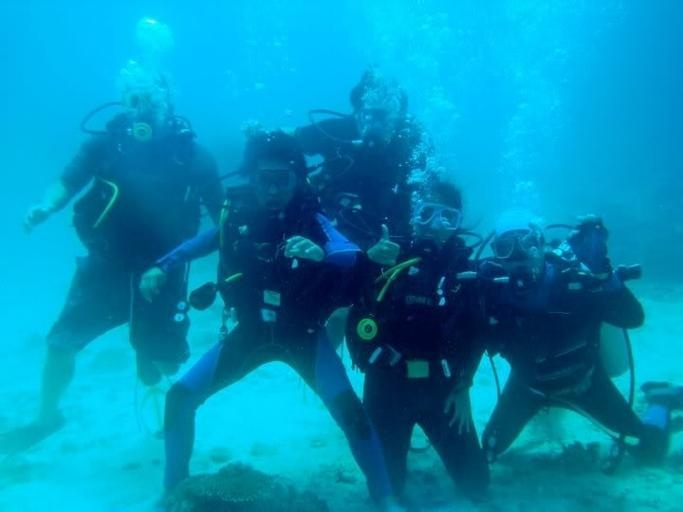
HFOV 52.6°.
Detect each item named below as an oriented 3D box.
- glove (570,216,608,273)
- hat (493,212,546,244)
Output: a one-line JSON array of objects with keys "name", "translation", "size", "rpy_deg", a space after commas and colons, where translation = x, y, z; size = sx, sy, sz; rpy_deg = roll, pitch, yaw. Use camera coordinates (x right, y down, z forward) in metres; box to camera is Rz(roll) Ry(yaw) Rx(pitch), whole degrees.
[{"name": "glove", "translation": [3.432, -0.163, 9.458], "size": [0.516, 0.722, 0.173], "rpy_deg": [2, -1, 31]}, {"name": "hat", "translation": [2.506, -0.404, 9.847], "size": [0.527, 0.490, 0.470], "rpy_deg": [-1, -6, -34]}]
